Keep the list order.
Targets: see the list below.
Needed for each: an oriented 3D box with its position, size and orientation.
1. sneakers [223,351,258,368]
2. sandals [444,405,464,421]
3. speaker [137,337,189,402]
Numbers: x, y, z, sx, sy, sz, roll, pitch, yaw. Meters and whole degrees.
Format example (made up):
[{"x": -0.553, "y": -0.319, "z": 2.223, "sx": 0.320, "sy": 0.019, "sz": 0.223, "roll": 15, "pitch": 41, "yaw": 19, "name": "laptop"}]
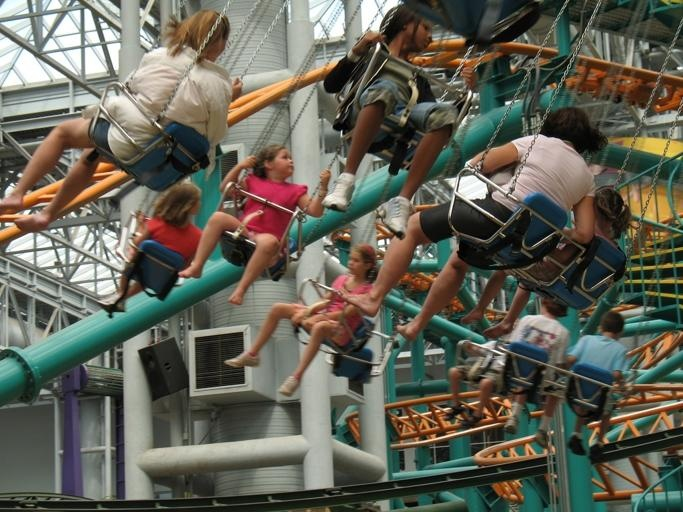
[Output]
[{"x": -1.180, "y": 1.164, "z": 13.209, "sx": 0.586, "sy": 0.193, "sz": 0.168, "roll": 2, "pitch": -4, "yaw": -2, "name": "sneakers"}, {"x": 1.246, "y": 1.764, "z": 13.241, "sx": 0.158, "sy": 0.136, "sz": 0.378, "roll": -5, "pitch": -8, "yaw": 12, "name": "sandals"}, {"x": -3.129, "y": 2.005, "z": 20.511, "sx": 0.723, "sy": 1.026, "sz": 1.212, "roll": -19, "pitch": 7, "yaw": 10, "name": "speaker"}]
